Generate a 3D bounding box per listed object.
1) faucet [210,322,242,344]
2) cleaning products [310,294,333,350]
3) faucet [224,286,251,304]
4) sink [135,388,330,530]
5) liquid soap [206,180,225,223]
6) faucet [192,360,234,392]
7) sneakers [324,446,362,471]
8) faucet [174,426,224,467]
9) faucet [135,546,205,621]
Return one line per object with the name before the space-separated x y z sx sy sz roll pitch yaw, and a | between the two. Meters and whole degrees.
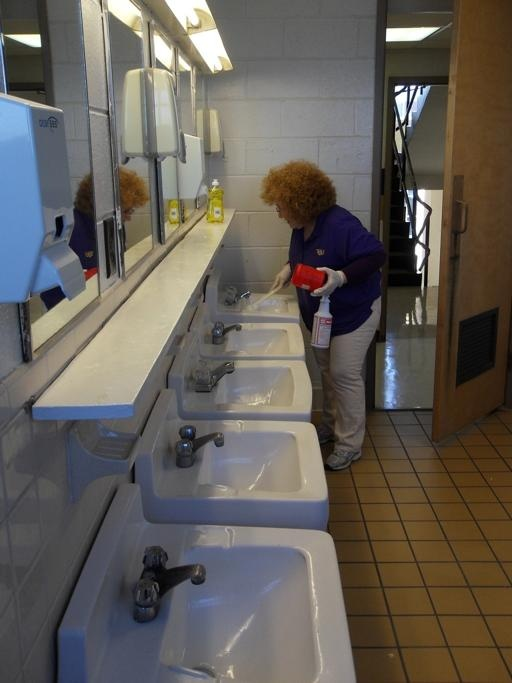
faucet | -0.153 -0.045 2.455 0.168 0.122 0.065 -16 14 -41
cleaning products | 0.329 -0.099 2.569 0.092 0.335 0.236 1 19 10
faucet | -0.101 -0.284 3.103 0.068 0.108 0.235 -4 20 24
sink | -0.055 0.332 1.292 0.354 0.292 0.427 -1 22 0
liquid soap | -0.236 -0.791 2.878 0.090 0.214 0.300 -4 20 -4
faucet | -0.164 0.128 1.851 0.089 0.049 0.136 -2 20 -2
sneakers | 0.469 0.646 2.873 0.226 0.132 0.090 -9 17 -32
faucet | -0.151 0.270 1.324 0.084 0.051 0.127 0 14 -2
faucet | -0.152 0.409 0.870 0.081 0.048 0.124 0 22 1
